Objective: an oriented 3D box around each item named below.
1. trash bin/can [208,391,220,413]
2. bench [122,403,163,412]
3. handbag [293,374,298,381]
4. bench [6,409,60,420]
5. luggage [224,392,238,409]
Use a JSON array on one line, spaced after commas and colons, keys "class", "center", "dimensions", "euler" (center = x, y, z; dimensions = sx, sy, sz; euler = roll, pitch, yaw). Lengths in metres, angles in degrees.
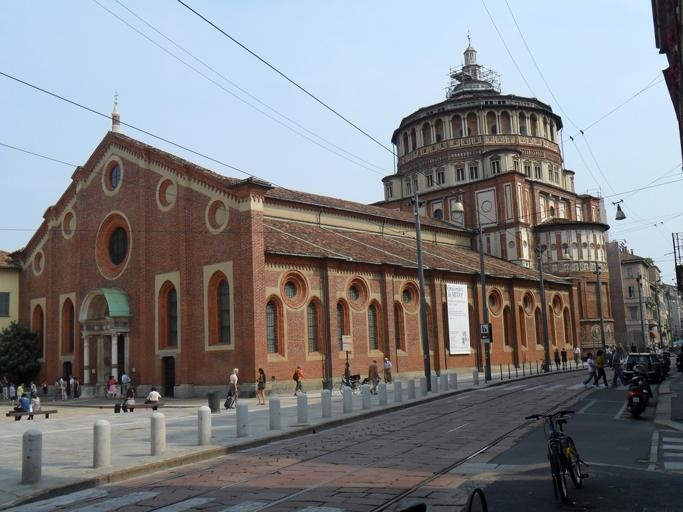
[{"class": "trash bin/can", "center": [-5.785, 6.602, 32.201], "dimensions": [0.440, 0.918, 0.705], "euler": [-1, -14, -16]}, {"class": "bench", "center": [-9.538, 7.179, 33.818], "dimensions": [1.467, 0.394, 1.754], "euler": [-14, -16, 32]}, {"class": "handbag", "center": [-2.362, 6.381, 37.406], "dimensions": [0.143, 0.459, 0.401], "euler": [3, -15, -29]}, {"class": "bench", "center": [-13.848, 7.090, 31.706], "dimensions": [1.691, 0.532, 2.759], "euler": [-7, -14, 7]}, {"class": "luggage", "center": [-5.310, 6.949, 33.901], "dimensions": [0.595, 0.702, 1.339], "euler": [-3, -14, -10]}]
